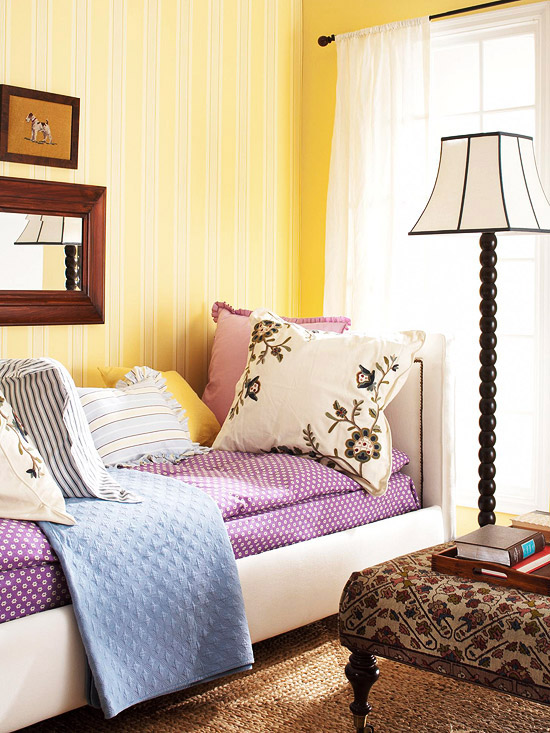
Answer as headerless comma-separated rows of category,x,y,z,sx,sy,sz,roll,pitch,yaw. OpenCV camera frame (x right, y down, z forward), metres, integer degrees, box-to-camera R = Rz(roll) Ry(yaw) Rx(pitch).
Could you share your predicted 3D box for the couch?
couch,-0.118,0.324,1.710,1.206,0.669,0.661,-2,2,-39
